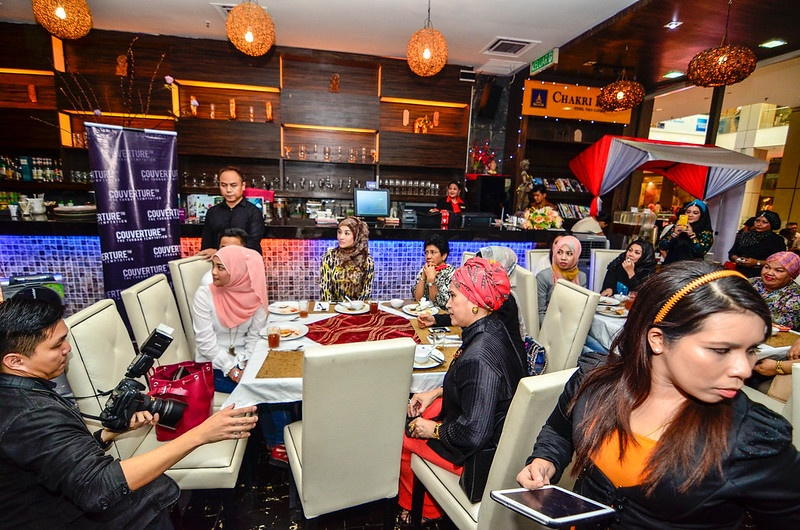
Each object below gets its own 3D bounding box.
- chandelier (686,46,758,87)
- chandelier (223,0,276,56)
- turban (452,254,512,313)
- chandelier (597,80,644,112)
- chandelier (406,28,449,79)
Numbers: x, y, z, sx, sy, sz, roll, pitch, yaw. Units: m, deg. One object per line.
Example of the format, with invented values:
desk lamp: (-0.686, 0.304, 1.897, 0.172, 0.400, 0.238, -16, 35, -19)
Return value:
chandelier: (3.556, -2.185, 5.458, 0.515, 0.312, 0.571, -3, 12, 32)
chandelier: (-1.652, -2.659, 5.660, 0.601, 0.604, 0.176, 7, 49, 22)
turban: (0.547, 0.142, 3.219, 0.341, 0.297, 0.303, 32, 8, 29)
chandelier: (3.054, -2.306, 6.735, 0.488, 0.150, 0.487, 11, -27, 3)
chandelier: (0.321, -2.590, 5.999, 0.559, 0.592, 0.544, 5, 28, 2)
